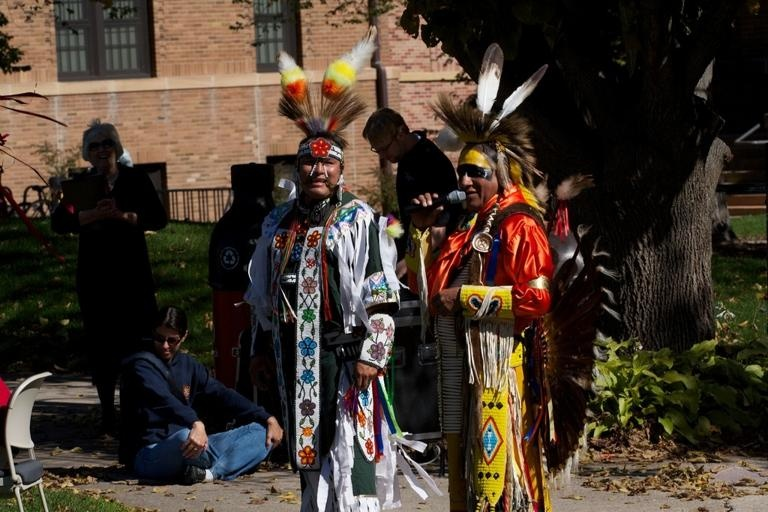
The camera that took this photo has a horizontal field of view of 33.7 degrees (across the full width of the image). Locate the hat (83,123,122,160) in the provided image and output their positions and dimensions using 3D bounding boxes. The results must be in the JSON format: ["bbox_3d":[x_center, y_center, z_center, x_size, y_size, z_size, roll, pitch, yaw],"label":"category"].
[{"bbox_3d":[-2.949,-1.209,13.260,0.326,0.389,0.444,-3,-6,-4],"label":"hat"}]

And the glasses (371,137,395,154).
[{"bbox_3d":[-0.006,-0.998,11.578,0.170,0.086,0.167,-3,42,50],"label":"glasses"}]

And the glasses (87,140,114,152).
[{"bbox_3d":[-2.927,-1.124,13.070,0.252,0.114,0.071,-1,6,-15],"label":"glasses"}]

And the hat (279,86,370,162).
[{"bbox_3d":[-0.494,-1.084,10.500,0.601,0.408,0.622,3,-16,-5],"label":"hat"}]

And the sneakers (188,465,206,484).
[{"bbox_3d":[-1.779,2.072,12.021,0.169,0.166,0.122,0,1,-21],"label":"sneakers"}]
